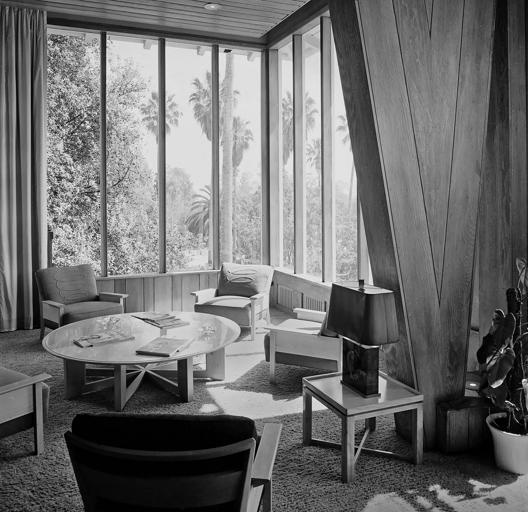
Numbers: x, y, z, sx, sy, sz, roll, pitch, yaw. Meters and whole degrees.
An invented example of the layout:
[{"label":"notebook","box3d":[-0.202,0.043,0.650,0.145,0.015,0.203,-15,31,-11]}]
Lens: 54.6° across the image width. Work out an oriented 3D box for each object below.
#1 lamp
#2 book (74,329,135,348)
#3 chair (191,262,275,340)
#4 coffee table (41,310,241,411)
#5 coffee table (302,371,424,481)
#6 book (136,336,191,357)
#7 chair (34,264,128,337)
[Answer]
[{"label":"lamp","box3d":[0.589,0.480,2.948,0.242,0.917,0.535,-2,4,-21]},{"label":"book","box3d":[-1.237,0.624,3.921,0.448,0.017,0.397,-4,8,-35]},{"label":"chair","box3d":[-0.321,0.446,5.742,0.623,0.902,0.834,1,-1,19]},{"label":"coffee table","box3d":[-0.963,0.835,4.040,1.467,0.474,1.350,0,7,-5]},{"label":"coffee table","box3d":[0.605,0.973,3.101,0.660,0.443,0.578,-2,7,-21]},{"label":"book","box3d":[-0.719,0.651,3.716,0.299,0.035,0.471,2,7,11]},{"label":"chair","box3d":[-1.955,0.314,5.613,0.760,1.103,0.752,-1,1,42]}]
